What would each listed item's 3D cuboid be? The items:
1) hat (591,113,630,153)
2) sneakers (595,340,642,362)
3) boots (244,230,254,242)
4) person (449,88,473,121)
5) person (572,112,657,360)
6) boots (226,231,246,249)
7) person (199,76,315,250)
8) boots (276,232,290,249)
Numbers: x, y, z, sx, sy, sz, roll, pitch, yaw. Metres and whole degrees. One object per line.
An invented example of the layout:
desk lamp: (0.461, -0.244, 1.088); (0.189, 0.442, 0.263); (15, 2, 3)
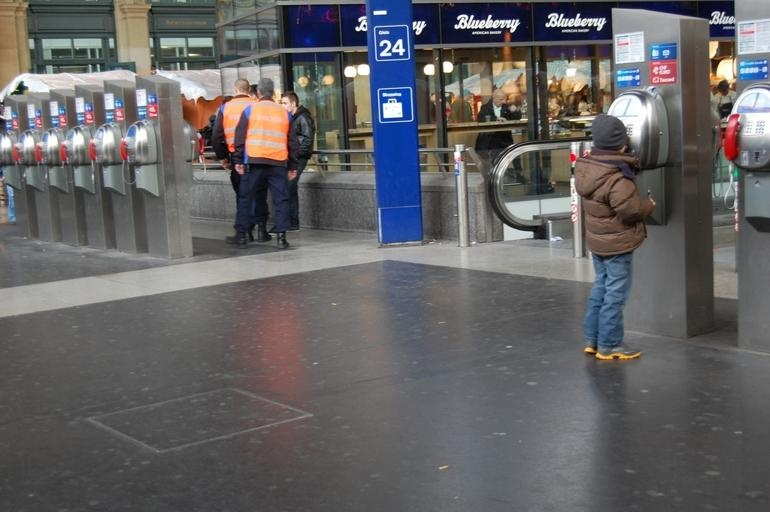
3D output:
hat: (1.632, -0.913, 5.165); (0.238, 0.263, 0.206); (0, 13, 16)
sneakers: (1.733, 0.725, 5.358); (0.354, 0.149, 0.122); (-4, 11, -9)
boots: (-2.251, -0.325, 11.655); (0.189, 0.170, 0.174); (-2, 3, -8)
person: (1.635, -3.412, 15.713); (0.802, 0.705, 0.409); (-2, 11, -12)
person: (1.684, -0.131, 5.226); (0.502, 1.807, 0.336); (-5, 13, -3)
boots: (-2.411, -0.269, 11.474); (0.463, 0.282, 0.182); (16, 21, 36)
person: (-1.984, -1.460, 10.994); (0.893, 2.576, 1.349); (-14, 16, -38)
boots: (-1.583, -0.246, 10.842); (0.146, 0.213, 0.327); (2, 16, 13)
